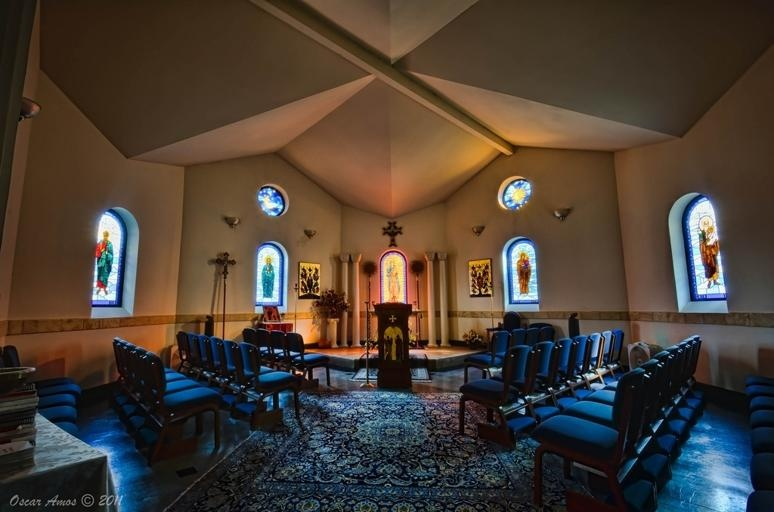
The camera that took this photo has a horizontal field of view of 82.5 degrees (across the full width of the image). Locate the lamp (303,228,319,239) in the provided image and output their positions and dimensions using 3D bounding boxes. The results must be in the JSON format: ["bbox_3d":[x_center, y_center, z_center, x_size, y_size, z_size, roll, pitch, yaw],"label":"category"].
[{"bbox_3d":[-1.988,-0.592,11.555,0.251,0.147,0.256,0,-6,18],"label":"lamp"}]

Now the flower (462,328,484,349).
[{"bbox_3d":[2.200,2.153,11.314,0.435,0.411,0.442,-1,-10,15],"label":"flower"}]

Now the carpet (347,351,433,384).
[{"bbox_3d":[0.132,2.328,9.224,1.584,0.309,1.584,-1,12,-2],"label":"carpet"}]

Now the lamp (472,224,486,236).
[{"bbox_3d":[2.378,-0.661,11.415,0.278,0.274,0.067,19,21,24],"label":"lamp"}]

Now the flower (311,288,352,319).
[{"bbox_3d":[-1.487,1.228,11.459,0.762,0.811,0.751,3,-8,-7],"label":"flower"}]

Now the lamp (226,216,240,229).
[{"bbox_3d":[-3.503,-0.771,10.100,0.215,0.109,0.297,3,-15,-14],"label":"lamp"}]
